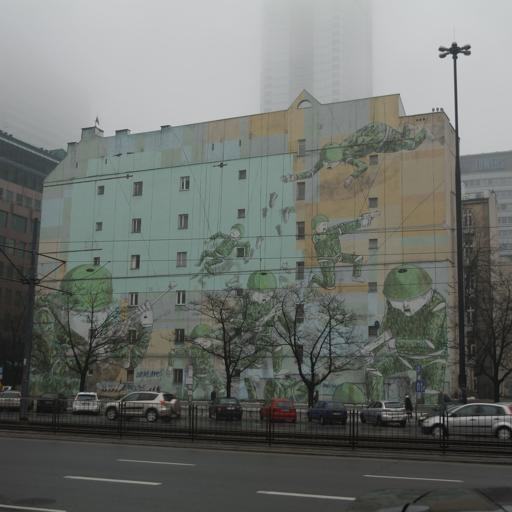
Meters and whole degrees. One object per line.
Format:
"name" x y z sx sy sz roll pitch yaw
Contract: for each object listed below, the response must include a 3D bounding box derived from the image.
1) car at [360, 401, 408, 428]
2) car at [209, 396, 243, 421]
"car" 6.632 8.068 42.095 1.642 1.114 3.039 2 -4 -10
"car" -1.302 7.065 36.992 1.219 0.860 2.633 1 -5 -6
